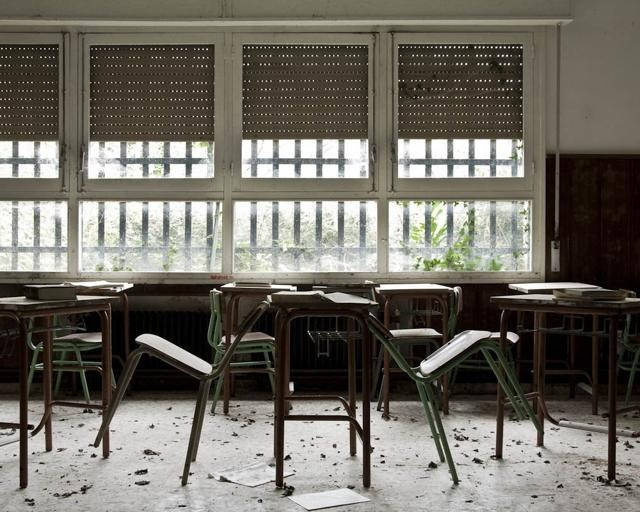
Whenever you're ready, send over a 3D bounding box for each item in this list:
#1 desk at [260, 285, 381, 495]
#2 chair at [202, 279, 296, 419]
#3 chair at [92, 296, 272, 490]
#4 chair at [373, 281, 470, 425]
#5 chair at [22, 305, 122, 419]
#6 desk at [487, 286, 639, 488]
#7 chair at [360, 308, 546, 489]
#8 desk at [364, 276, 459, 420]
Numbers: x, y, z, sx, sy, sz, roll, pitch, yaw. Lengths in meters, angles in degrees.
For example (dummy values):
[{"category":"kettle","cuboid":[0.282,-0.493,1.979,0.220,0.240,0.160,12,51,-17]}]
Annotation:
[{"category":"desk","cuboid":[0.029,0.693,3.999,0.592,1.065,1.022,0,5,3]},{"category":"chair","cuboid":[-0.632,0.672,5.320,0.936,1.411,0.822,0,-1,-5]},{"category":"chair","cuboid":[-0.742,0.674,3.842,0.745,1.061,0.616,18,8,15]},{"category":"chair","cuboid":[0.748,0.651,5.102,0.841,1.299,0.901,0,-5,-1]},{"category":"chair","cuboid":[-1.895,0.676,5.019,0.652,0.831,0.647,-3,-4,31]},{"category":"desk","cuboid":[1.654,0.725,4.366,1.101,1.249,0.951,-1,-1,27]},{"category":"chair","cuboid":[0.746,0.645,3.817,0.727,0.969,0.512,-19,5,0]},{"category":"desk","cuboid":[0.726,0.655,5.018,0.878,1.152,0.871,-1,-5,0]}]
